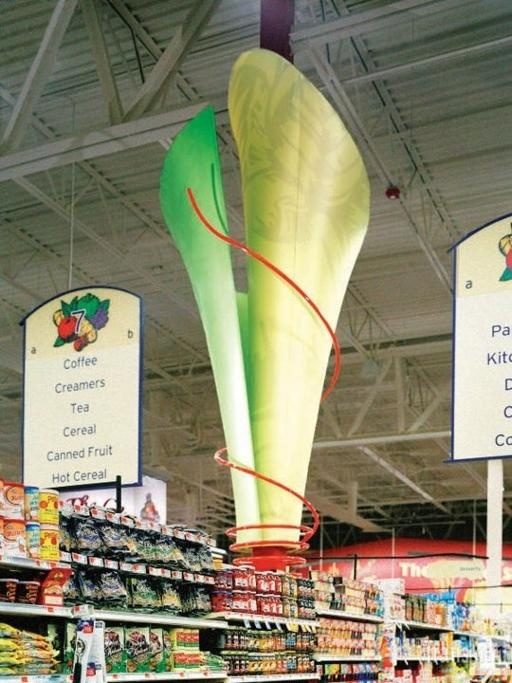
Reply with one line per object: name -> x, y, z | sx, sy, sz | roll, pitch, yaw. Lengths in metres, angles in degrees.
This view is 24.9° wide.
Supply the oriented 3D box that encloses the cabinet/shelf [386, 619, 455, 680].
cabinet/shelf -> 1.543, 2.912, 10.844 | 0.490, 0.545, 2.272 | -2, -14, 12
